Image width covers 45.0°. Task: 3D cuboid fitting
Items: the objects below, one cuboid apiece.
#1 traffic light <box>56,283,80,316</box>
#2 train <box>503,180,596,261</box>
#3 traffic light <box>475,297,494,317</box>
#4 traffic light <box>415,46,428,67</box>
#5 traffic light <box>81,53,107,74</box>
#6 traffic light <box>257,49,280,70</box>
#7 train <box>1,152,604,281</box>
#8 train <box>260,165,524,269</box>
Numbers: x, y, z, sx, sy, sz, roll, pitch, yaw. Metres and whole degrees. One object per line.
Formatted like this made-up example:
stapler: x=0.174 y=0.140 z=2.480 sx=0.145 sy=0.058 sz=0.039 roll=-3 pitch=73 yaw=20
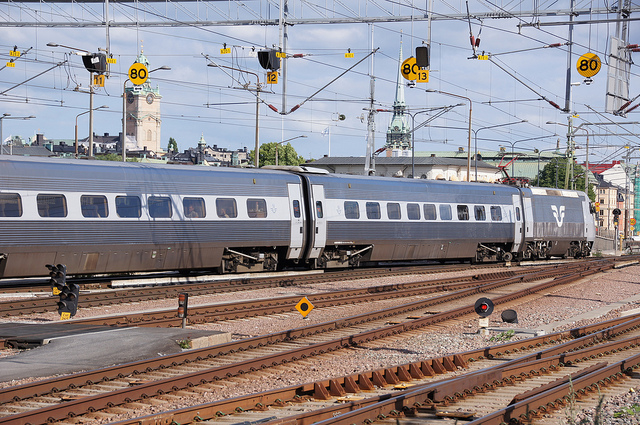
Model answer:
traffic light: x=-6.780 y=2.337 z=20.749 sx=0.535 sy=0.848 sz=0.321 roll=-1 pitch=-1 yaw=-7
train: x=12.916 y=0.585 z=46.043 sx=3.047 sy=4.510 sz=11.750 roll=-4 pitch=-4 yaw=40
traffic light: x=4.644 y=2.683 z=21.860 sx=0.456 sy=0.422 sz=0.330 roll=-1 pitch=-1 yaw=12
traffic light: x=3.841 y=-5.869 z=29.147 sx=0.425 sy=0.536 sz=0.690 roll=-1 pitch=-1 yaw=10
traffic light: x=-9.719 y=-6.468 z=33.340 sx=0.798 sy=0.798 sz=0.894 roll=-1 pitch=-1 yaw=2
traffic light: x=-2.081 y=-6.256 z=31.515 sx=0.886 sy=0.800 sz=0.600 roll=-1 pitch=-1 yaw=-9
train: x=0.424 y=0.197 z=34.351 sx=28.398 sy=4.507 sz=2.990 roll=-1 pitch=-1 yaw=-34
train: x=4.195 y=0.327 z=38.721 sx=17.108 sy=3.898 sz=3.434 roll=1 pitch=1 yaw=-40
